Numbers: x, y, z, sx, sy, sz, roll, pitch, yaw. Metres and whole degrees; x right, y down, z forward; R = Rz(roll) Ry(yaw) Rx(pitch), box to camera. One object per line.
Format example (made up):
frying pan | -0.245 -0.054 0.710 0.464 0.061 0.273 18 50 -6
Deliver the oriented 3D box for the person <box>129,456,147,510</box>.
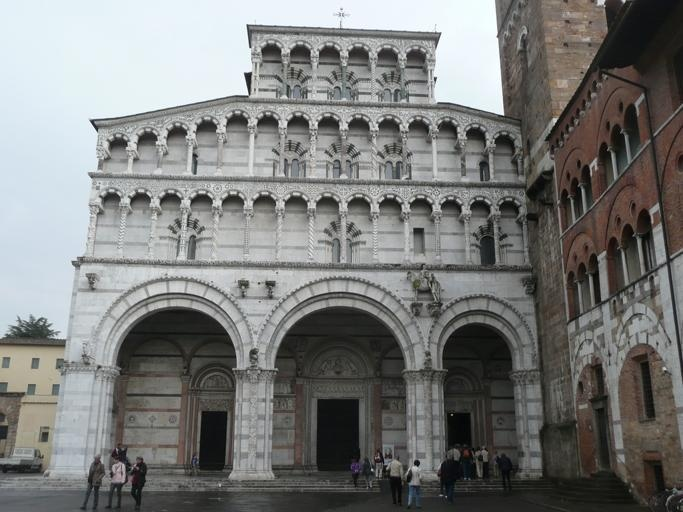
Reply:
person | -6.634 7.353 21.729 0.443 1.719 1.526 6 -23 -15

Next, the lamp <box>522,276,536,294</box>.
lamp | 8.490 1.349 30.477 0.678 0.883 0.694 0 -18 5

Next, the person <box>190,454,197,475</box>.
person | -6.898 9.675 31.325 0.277 0.947 0.537 6 -22 -16

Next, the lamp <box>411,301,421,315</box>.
lamp | 3.303 2.292 29.513 0.501 0.626 0.223 0 4 -2

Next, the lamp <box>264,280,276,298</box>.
lamp | -3.232 1.430 29.509 0.587 0.886 0.556 0 -3 37

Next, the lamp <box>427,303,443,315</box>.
lamp | 4.169 2.343 29.571 0.645 0.525 0.536 0 -22 -2

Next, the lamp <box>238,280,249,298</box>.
lamp | -4.298 1.399 29.384 0.504 0.698 0.460 3 -22 -9

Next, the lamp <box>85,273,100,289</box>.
lamp | -10.822 1.096 29.217 0.681 1.082 0.586 0 -3 -11

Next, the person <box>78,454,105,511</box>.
person | -7.973 7.243 21.357 0.562 1.675 1.405 7 -23 -19
